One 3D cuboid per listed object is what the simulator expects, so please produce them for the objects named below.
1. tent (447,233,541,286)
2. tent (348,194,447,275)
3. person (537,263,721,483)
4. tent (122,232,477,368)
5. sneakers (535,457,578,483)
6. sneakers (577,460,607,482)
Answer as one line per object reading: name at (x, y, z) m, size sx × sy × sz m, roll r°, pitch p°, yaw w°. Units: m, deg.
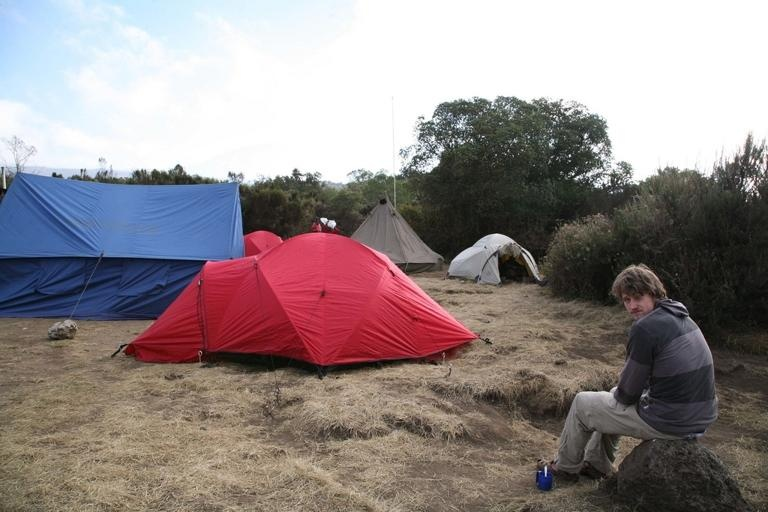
tent at (2.946, 0.131, 16.311) m, size 1.887 × 0.915 × 1.721 m, roll 0°, pitch 3°, yaw -16°
tent at (0.389, -0.774, 18.725) m, size 2.515 × 1.749 × 2.609 m, roll 3°, pitch 5°, yaw 34°
person at (2.824, 1.340, 6.125) m, size 1.459 × 2.078 × 0.442 m, roll 4°, pitch -1°, yaw 29°
tent at (-1.345, 0.803, 8.833) m, size 3.472 × 1.334 × 2.688 m, roll 3°, pitch -7°, yaw -27°
sneakers at (1.997, 2.475, 6.547) m, size 0.521 × 0.233 × 0.180 m, roll 6°, pitch 10°, yaw 33°
sneakers at (2.385, 2.445, 6.429) m, size 0.392 × 0.186 × 0.141 m, roll 0°, pitch 6°, yaw 21°
